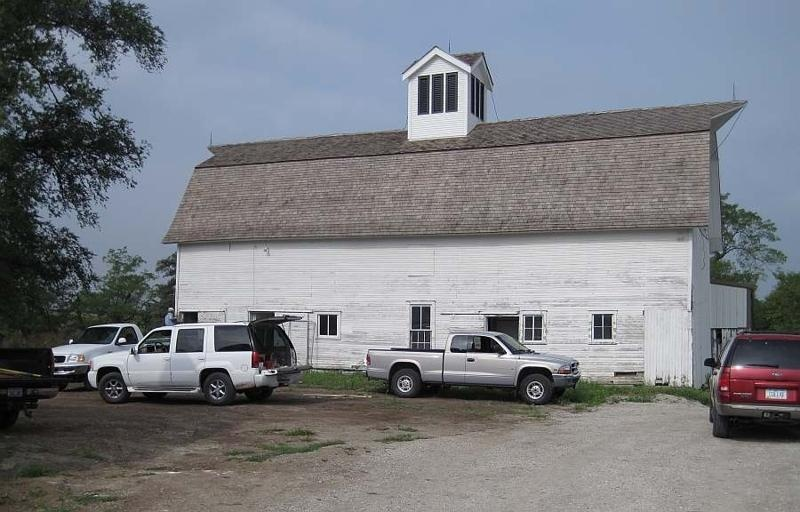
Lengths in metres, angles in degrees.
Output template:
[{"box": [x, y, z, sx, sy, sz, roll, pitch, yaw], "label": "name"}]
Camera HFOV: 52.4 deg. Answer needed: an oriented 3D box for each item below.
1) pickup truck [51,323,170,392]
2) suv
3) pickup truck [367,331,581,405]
[{"box": [-11.384, 3.562, 30.758, 2.316, 1.781, 3.985, -3, -6, 24], "label": "pickup truck"}, {"box": [-6.382, 3.351, 26.292, 6.140, 2.343, 2.896, 0, -4, 16], "label": "suv"}, {"box": [2.537, 3.837, 27.879, 6.373, 2.059, 2.710, -3, -4, 22], "label": "pickup truck"}]
